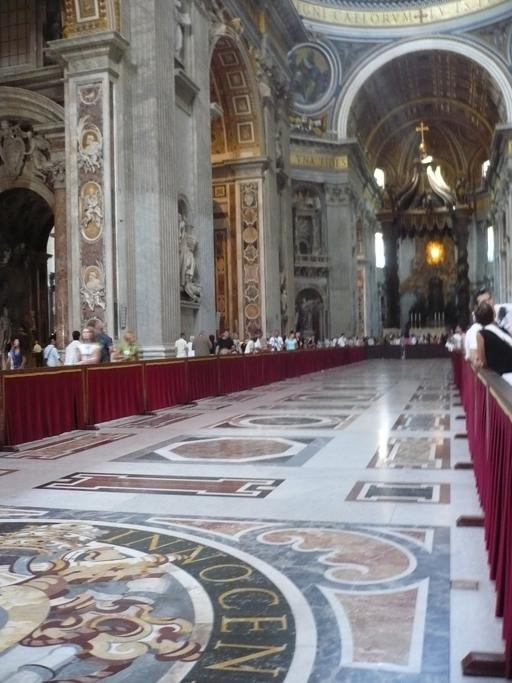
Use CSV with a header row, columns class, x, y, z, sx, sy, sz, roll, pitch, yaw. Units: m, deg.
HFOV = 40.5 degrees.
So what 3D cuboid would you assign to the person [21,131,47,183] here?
class,x,y,z,sx,sy,sz,roll,pitch,yaw
person,-5.022,-4.247,16.076,0.732,1.217,0.185,-1,0,26
